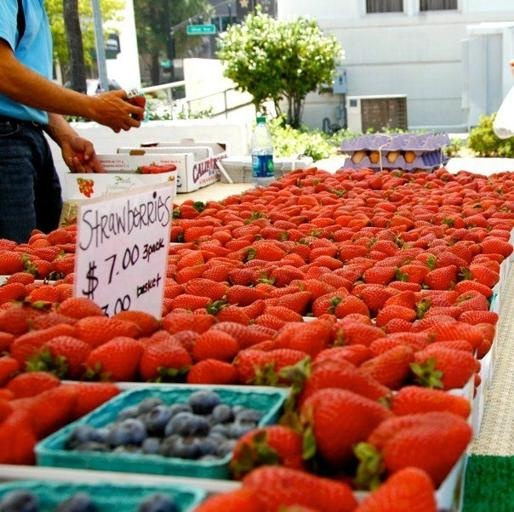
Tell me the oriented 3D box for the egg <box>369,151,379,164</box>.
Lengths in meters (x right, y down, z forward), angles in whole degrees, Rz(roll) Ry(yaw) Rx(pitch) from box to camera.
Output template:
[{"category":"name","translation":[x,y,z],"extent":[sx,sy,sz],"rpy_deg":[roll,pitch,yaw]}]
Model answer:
[{"category":"egg","translation":[1.405,-1.173,5.459],"extent":[0.129,0.109,0.072],"rpy_deg":[-39,-4,4]}]

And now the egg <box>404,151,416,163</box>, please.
[{"category":"egg","translation":[1.789,-1.156,5.328],"extent":[0.117,0.149,0.122],"rpy_deg":[1,-22,-3]}]

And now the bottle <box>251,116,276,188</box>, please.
[{"category":"bottle","translation":[0.042,-1.029,4.556],"extent":[0.274,0.708,0.283],"rpy_deg":[0,21,0]}]
